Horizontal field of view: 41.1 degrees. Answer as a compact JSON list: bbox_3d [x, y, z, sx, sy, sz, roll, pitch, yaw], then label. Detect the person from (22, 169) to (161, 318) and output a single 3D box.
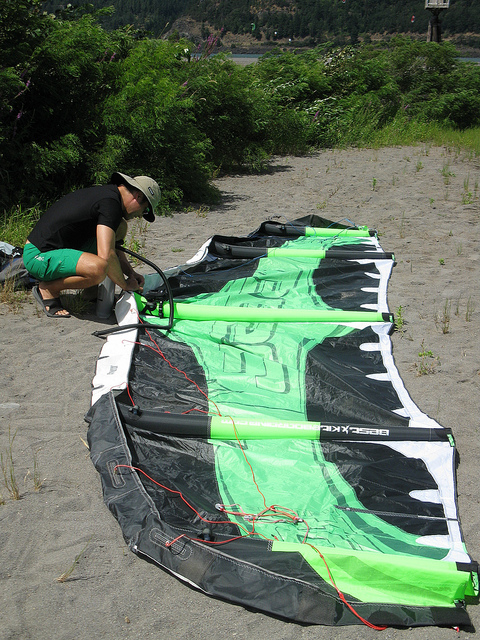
[{"bbox_3d":[-1.041,-0.568,4.751,1.098,0.966,0.809,-11,25,-41],"label":"person"}]
